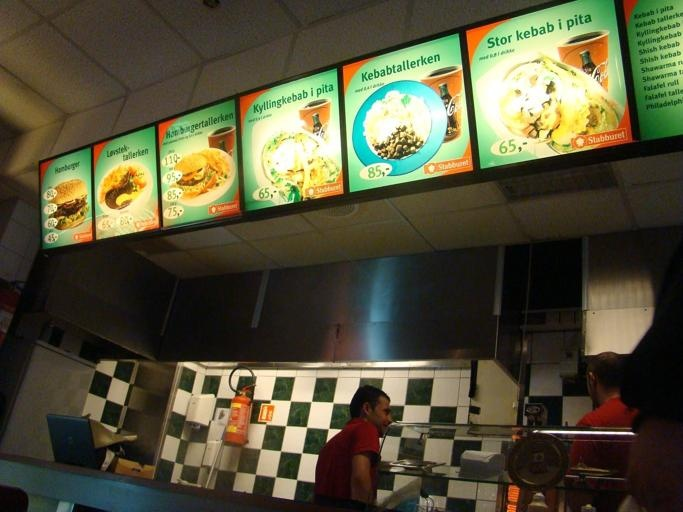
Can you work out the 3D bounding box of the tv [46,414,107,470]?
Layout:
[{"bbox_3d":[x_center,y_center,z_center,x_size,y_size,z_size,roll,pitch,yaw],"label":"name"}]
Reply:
[{"bbox_3d":[-1.383,0.967,2.731,0.271,0.273,0.224,-3,7,19],"label":"tv"}]

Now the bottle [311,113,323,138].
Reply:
[{"bbox_3d":[-0.136,-0.739,2.848,0.067,0.140,0.035,-6,-23,19],"label":"bottle"}]

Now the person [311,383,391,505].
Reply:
[{"bbox_3d":[0.032,0.861,2.437,0.403,0.587,1.163,-1,-22,5],"label":"person"}]
